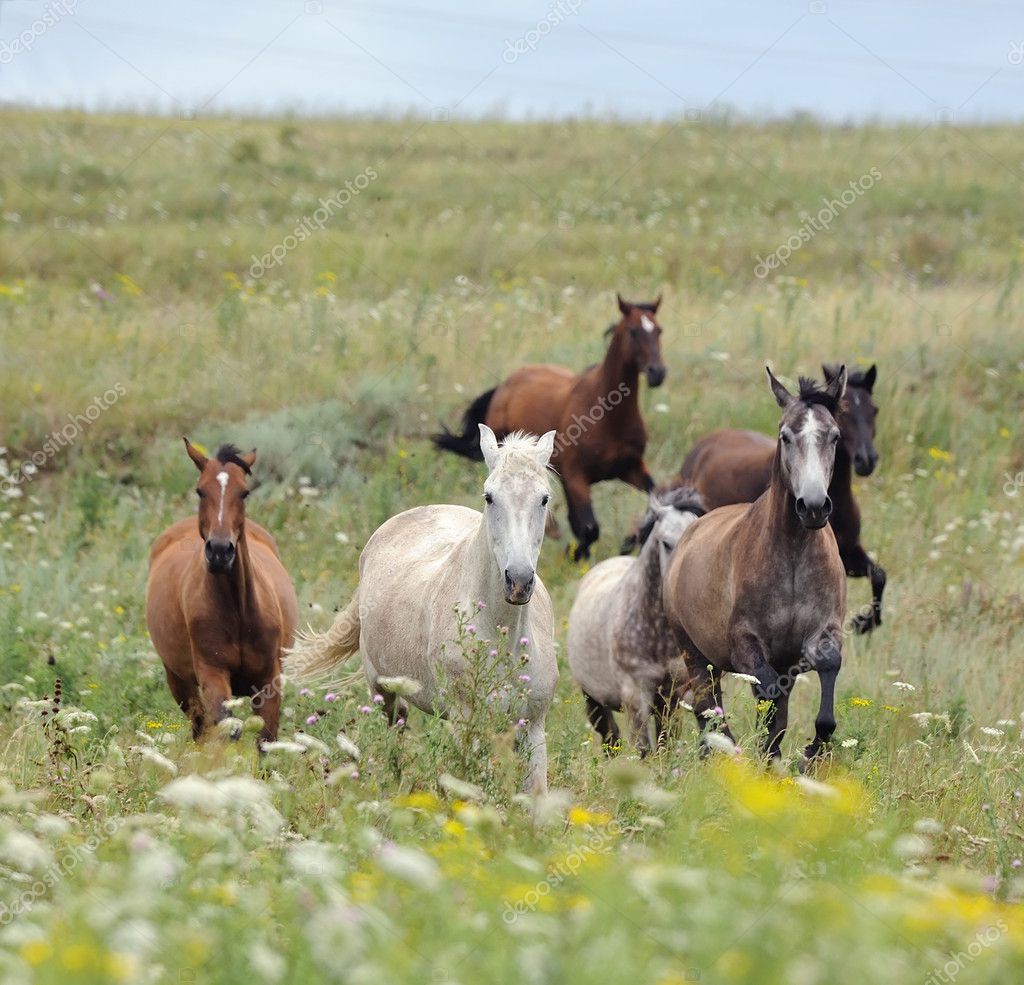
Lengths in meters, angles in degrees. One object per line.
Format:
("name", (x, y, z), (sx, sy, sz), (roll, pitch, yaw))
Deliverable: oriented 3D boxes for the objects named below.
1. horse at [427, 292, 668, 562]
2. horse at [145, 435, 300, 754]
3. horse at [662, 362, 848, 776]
("horse", (0.345, -0.516, 14.842), (0.658, 2.188, 2.973), (-5, 8, -34))
("horse", (-1.688, 0.545, 10.183), (0.797, 1.744, 1.534), (-7, 15, -14))
("horse", (1.454, 0.386, 10.151), (0.849, 2.177, 1.538), (-9, 15, -22))
